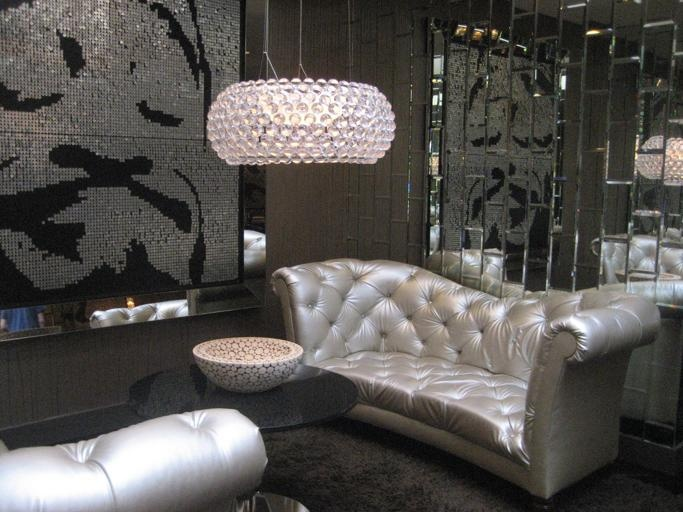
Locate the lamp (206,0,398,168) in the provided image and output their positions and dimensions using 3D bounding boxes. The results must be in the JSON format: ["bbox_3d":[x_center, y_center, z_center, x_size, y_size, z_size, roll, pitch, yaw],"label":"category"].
[{"bbox_3d":[-0.208,-0.707,2.490,0.567,0.683,0.605,0,1,10],"label":"lamp"}]

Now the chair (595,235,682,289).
[{"bbox_3d":[1.687,0.017,3.022,0.405,0.316,0.242,1,1,40],"label":"chair"}]
